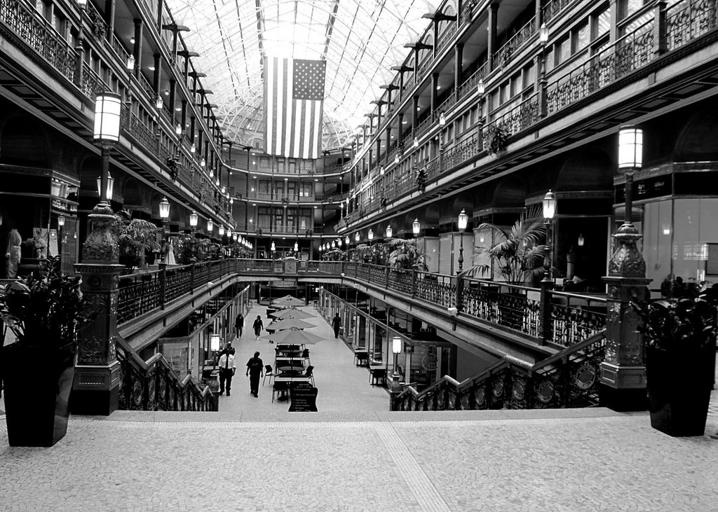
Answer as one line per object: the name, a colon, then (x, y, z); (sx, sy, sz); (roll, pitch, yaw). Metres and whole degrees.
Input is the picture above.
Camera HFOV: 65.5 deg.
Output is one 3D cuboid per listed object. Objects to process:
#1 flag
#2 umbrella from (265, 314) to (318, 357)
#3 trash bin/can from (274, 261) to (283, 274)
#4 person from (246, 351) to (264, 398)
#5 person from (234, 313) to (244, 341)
flag: (-3.674, -8.484, 31.913); (3.468, 5.565, 5.296); (0, 7, -8)
umbrella: (-3.072, 3.689, 25.471); (1.954, 1.036, 2.104); (-7, 24, -16)
trash bin/can: (-6.036, 0.841, 42.257); (0.698, 0.822, 1.039); (0, 7, -6)
person: (-3.993, 4.553, 21.635); (0.533, 2.009, 1.442); (-1, 7, -12)
person: (-7.634, 4.547, 35.769); (0.362, 1.504, 1.322); (-1, 7, -14)
